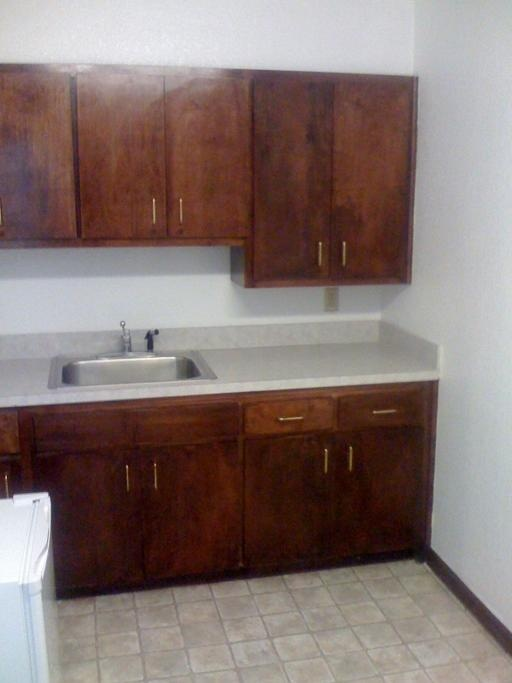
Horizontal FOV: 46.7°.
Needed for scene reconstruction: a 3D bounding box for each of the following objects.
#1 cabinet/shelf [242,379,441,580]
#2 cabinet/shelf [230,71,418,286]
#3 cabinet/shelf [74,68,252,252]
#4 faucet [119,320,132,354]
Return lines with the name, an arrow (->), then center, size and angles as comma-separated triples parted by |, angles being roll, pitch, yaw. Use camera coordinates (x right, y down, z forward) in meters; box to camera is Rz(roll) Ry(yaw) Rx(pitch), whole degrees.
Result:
cabinet/shelf -> 0.312, 0.518, 2.333 | 0.630, 0.698, 0.261 | -3, 8, -13
cabinet/shelf -> 0.252, -0.678, 2.376 | 0.693, 0.969, 0.342 | -1, 13, -9
cabinet/shelf -> -0.373, -0.707, 2.227 | 0.554, 0.607, 0.233 | -1, 14, -9
faucet -> -0.571, -0.019, 2.578 | 0.049, 0.141, 0.122 | -1, 6, -13
